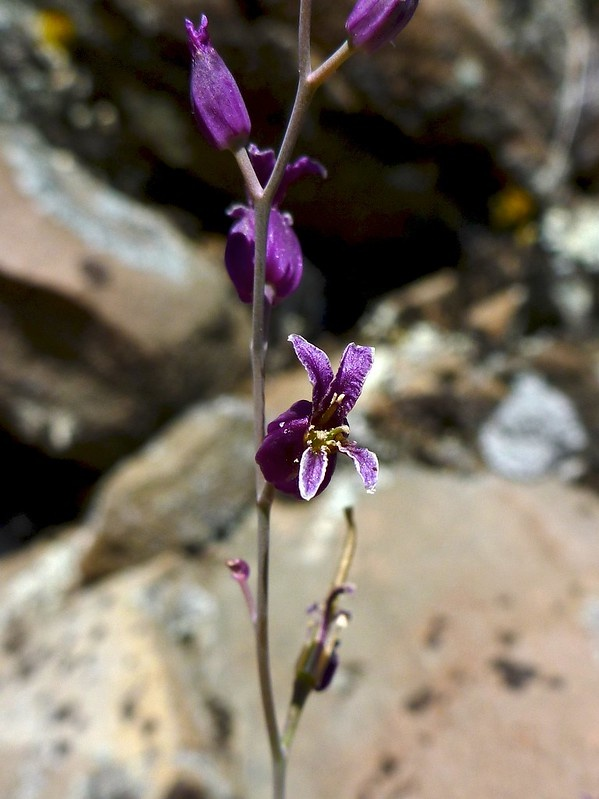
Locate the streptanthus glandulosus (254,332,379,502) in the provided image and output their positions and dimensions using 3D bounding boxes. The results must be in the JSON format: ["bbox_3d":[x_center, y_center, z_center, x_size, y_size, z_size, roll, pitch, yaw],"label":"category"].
[{"bbox_3d":[0.031,0.031,1.033,0.146,0.111,0.198,12,-67,-7],"label":"streptanthus glandulosus"}]
